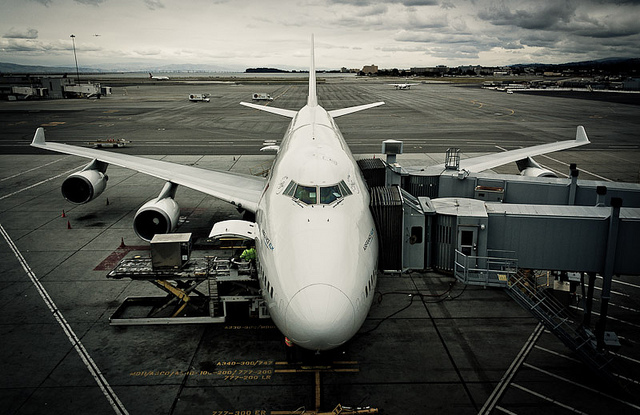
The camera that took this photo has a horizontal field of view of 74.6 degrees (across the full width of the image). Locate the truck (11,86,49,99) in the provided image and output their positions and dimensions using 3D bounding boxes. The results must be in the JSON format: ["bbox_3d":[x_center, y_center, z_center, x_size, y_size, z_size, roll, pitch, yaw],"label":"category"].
[{"bbox_3d":[-92.903,-36.502,132.410,8.165,2.224,5.424,3,14,-3],"label":"truck"}]

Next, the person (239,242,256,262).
[{"bbox_3d":[-4.196,2.654,24.317,1.008,0.577,0.996,-1,42,-7],"label":"person"}]

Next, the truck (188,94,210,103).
[{"bbox_3d":[-38.260,-34.411,131.642,6.531,1.774,4.352,0,9,0],"label":"truck"}]
